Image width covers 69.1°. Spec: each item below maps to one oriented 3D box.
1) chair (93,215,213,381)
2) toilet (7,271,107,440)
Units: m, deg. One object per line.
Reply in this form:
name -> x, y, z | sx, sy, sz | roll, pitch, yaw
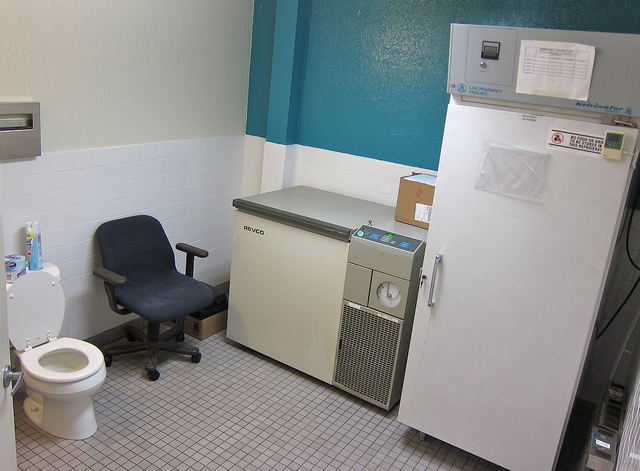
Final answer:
chair -> -1.244, 0.438, 3.477 | 0.782, 1.023, 0.711 | -13, 29, -36
toilet -> -1.584, 0.721, 2.833 | 0.586, 0.918, 0.430 | 24, 29, 37
